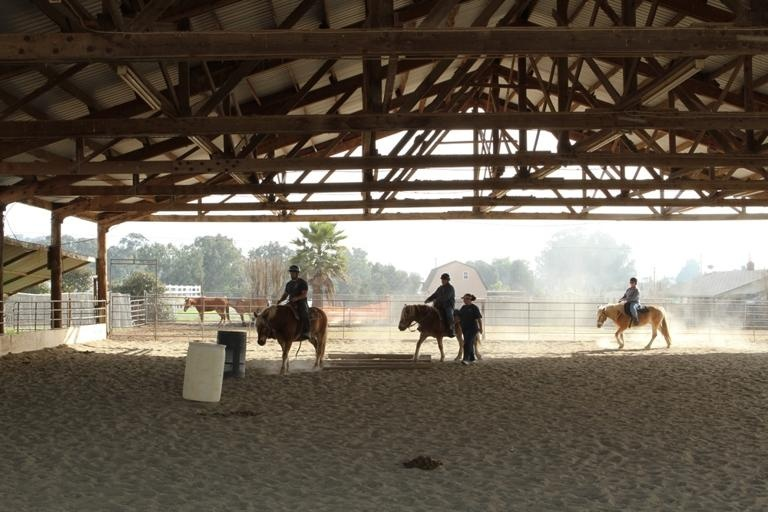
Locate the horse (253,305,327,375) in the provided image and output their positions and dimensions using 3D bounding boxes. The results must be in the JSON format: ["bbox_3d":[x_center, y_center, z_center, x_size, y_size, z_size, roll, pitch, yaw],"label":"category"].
[{"bbox_3d":[-2.232,2.048,21.687,0.783,1.728,2.597,-4,-4,36],"label":"horse"}]

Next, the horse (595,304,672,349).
[{"bbox_3d":[7.859,2.173,27.145,2.689,1.421,0.698,-1,-10,-19],"label":"horse"}]

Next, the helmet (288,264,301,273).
[{"bbox_3d":[-2.066,0.294,20.967,0.296,0.130,0.200,9,-4,-30],"label":"helmet"}]

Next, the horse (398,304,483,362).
[{"bbox_3d":[1.593,2.118,23.654,2.802,1.471,0.677,7,-11,-34],"label":"horse"}]
